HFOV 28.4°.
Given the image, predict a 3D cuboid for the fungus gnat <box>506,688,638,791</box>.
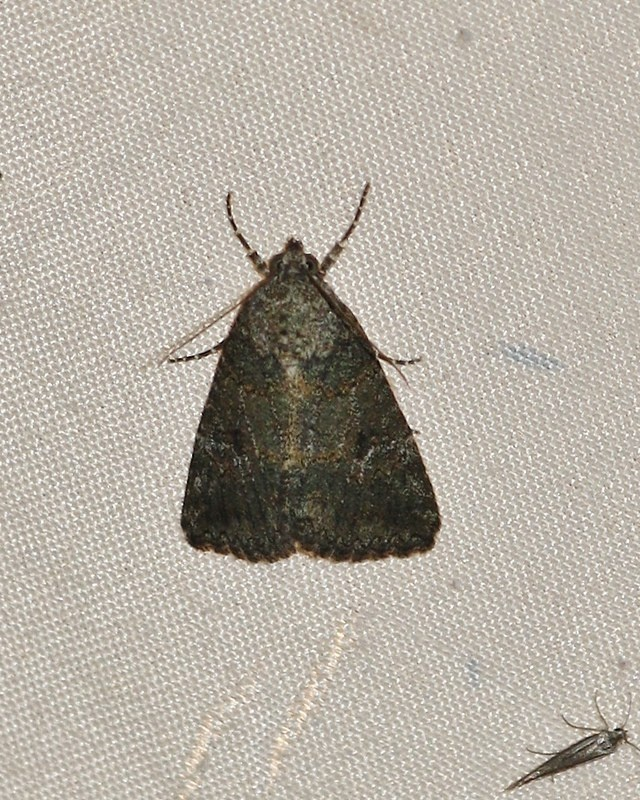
[{"bbox_3d":[0.683,0.949,3.467,0.429,0.058,0.191,-23,79,-10],"label":"fungus gnat"}]
